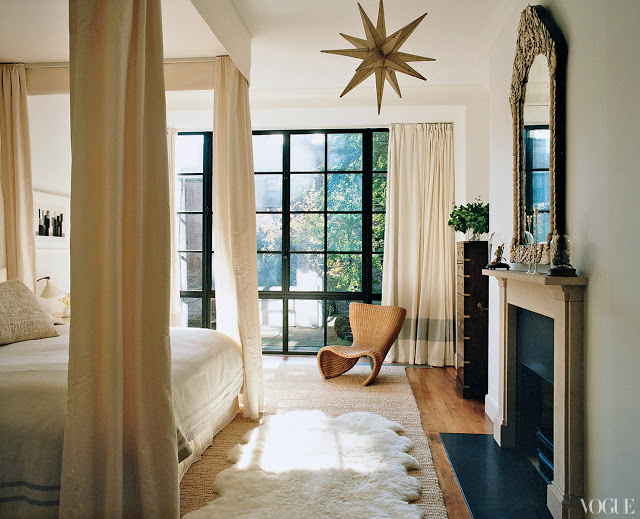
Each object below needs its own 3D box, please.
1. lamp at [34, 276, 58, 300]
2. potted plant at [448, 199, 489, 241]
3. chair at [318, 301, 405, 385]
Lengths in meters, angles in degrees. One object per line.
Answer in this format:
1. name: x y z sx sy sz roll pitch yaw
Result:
1. lamp: -2.297 0.235 4.551 0.165 0.205 0.190 4 4 39
2. potted plant: 1.296 -0.331 4.712 0.338 0.308 0.214 2 6 22
3. chair: 0.411 0.797 5.143 0.637 0.760 0.763 5 1 20
